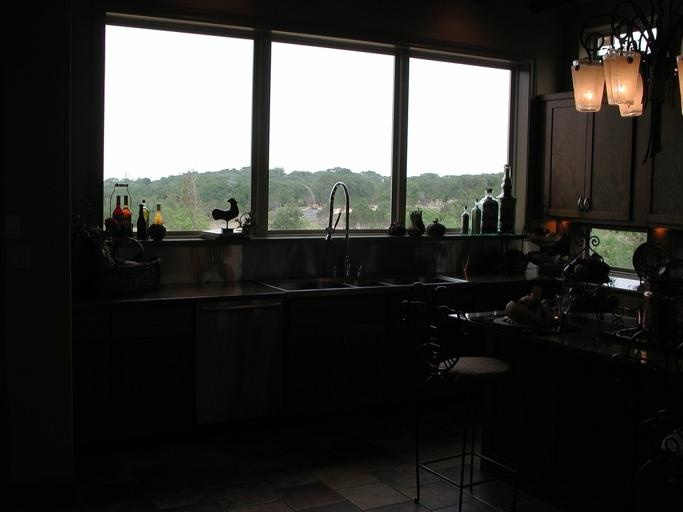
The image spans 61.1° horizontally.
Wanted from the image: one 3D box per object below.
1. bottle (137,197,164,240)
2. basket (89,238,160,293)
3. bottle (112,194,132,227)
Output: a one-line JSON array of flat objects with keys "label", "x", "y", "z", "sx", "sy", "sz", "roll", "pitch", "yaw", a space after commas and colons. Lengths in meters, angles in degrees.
[{"label": "bottle", "x": -1.394, "y": -0.264, "z": 4.240, "sx": 0.188, "sy": 0.285, "sz": 0.313, "roll": -1, "pitch": 7, "yaw": -20}, {"label": "basket", "x": -1.466, "y": 0.075, "z": 3.867, "sx": 0.410, "sy": 0.382, "sz": 0.268, "roll": 1, "pitch": 1, "yaw": -40}, {"label": "bottle", "x": -1.560, "y": -0.327, "z": 4.123, "sx": 0.124, "sy": 0.208, "sz": 0.230, "roll": -1, "pitch": 7, "yaw": -20}]
